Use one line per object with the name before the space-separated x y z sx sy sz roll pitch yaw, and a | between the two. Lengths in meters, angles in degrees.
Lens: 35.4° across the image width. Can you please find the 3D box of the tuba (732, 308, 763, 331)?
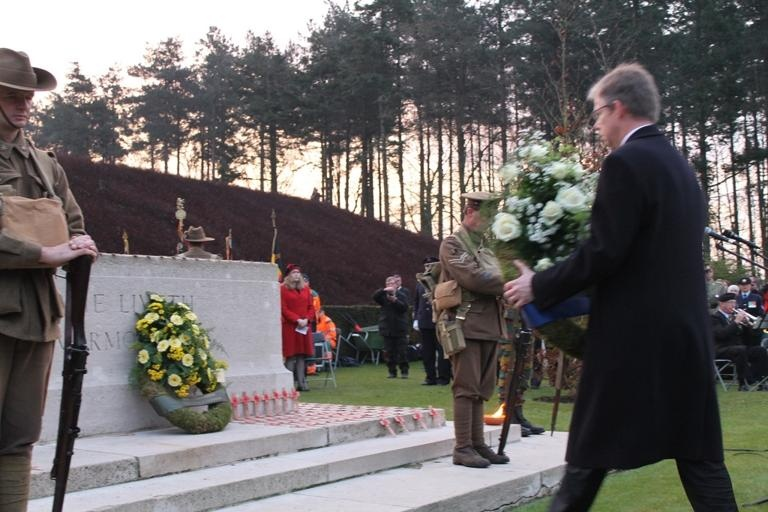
tuba | 7.710 1.333 25.725 0.433 0.285 0.670 10 2 -17

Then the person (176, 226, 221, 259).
person | -3.761 -0.299 23.778 1.234 0.588 1.409 3 1 -18

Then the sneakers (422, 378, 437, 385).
sneakers | 0.948 2.700 26.157 0.313 0.147 0.450 -1 -3 1

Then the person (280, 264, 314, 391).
person | -1.820 1.454 25.102 0.664 2.634 1.355 0 -4 -4

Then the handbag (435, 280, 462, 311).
handbag | 0.936 0.578 17.794 0.482 0.364 0.195 -12 -26 38

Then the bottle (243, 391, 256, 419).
bottle | -2.154 2.358 19.153 0.157 0.327 0.217 -4 -5 40

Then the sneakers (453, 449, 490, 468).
sneakers | 1.238 2.961 17.752 0.596 0.194 0.217 -1 0 24

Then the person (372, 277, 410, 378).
person | 0.166 1.624 28.336 0.771 2.367 1.542 -1 -4 1

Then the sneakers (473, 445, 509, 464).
sneakers | 1.513 2.933 17.933 0.660 0.201 0.191 9 -5 5

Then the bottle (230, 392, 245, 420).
bottle | -2.346 2.359 19.090 0.221 0.378 0.423 0 -3 -7

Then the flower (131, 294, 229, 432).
flower | -3.479 1.698 18.719 1.585 2.068 0.405 -28 -3 -34

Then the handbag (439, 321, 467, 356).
handbag | 0.996 1.163 17.723 0.316 0.417 0.389 5 -26 -39
